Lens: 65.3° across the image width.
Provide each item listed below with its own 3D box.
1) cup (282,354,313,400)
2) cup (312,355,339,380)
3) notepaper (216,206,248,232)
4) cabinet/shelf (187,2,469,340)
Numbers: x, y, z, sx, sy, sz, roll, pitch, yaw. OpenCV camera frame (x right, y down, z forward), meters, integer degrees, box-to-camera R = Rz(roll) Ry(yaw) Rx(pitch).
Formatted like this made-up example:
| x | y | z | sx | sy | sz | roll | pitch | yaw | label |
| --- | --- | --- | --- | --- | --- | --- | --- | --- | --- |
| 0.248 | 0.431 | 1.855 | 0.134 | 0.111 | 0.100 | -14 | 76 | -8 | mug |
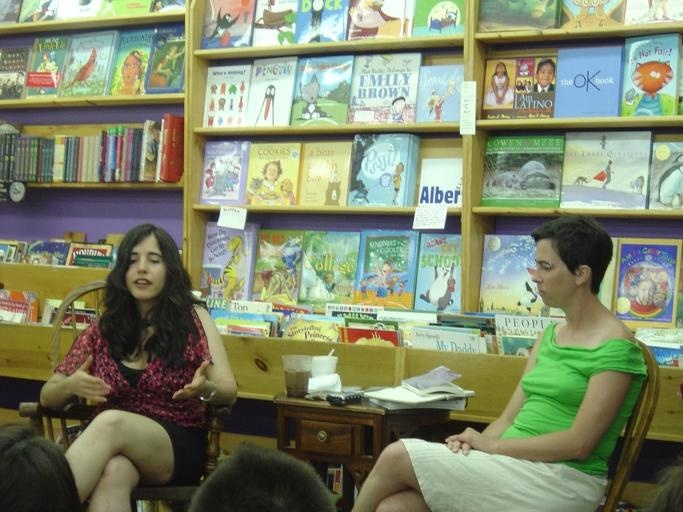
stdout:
| x | y | z | sx | sy | sz | roll | pitch | yaw | label |
| --- | --- | --- | --- | --- | --- | --- | --- | --- | --- |
| -0.181 | 0.501 | 2.230 | 0.143 | 0.164 | 0.151 | -1 | -3 | 0 | cup |
| -0.073 | 0.490 | 2.365 | 0.128 | 0.096 | 0.100 | 2 | 1 | -17 | cup |
| -0.689 | -0.232 | 3.367 | 0.164 | 0.153 | 0.038 | 3 | -2 | 15 | notepaper |
| -0.026 | -0.527 | 3.222 | 2.014 | 2.020 | 0.678 | 0 | 0 | 21 | cabinet/shelf |
